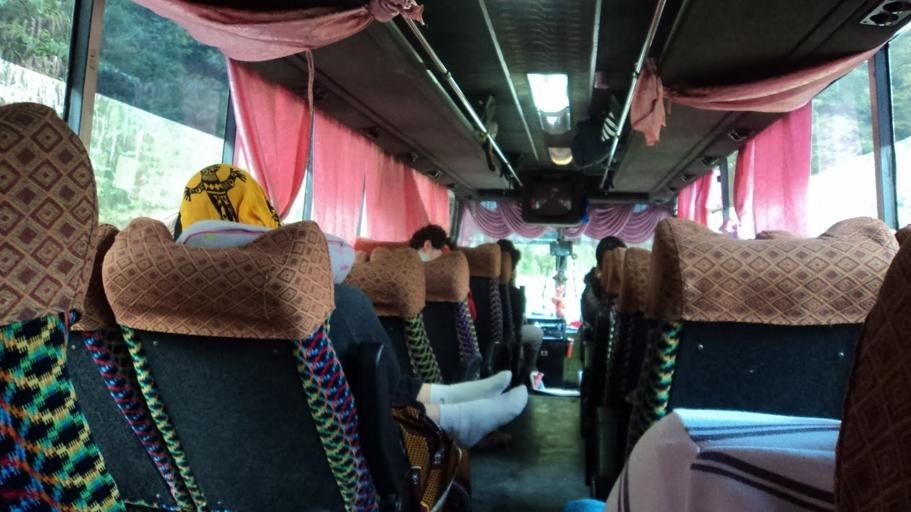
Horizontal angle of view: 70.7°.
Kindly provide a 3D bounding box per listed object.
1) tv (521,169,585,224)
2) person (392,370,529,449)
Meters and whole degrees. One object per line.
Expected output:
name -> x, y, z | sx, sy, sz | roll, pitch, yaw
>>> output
tv -> 1.183, -0.681, 7.834 | 0.730, 0.590, 0.396 | 2, -2, 9
person -> 0.009, 0.872, 3.635 | 0.815, 0.266, 0.555 | -18, -30, -8
